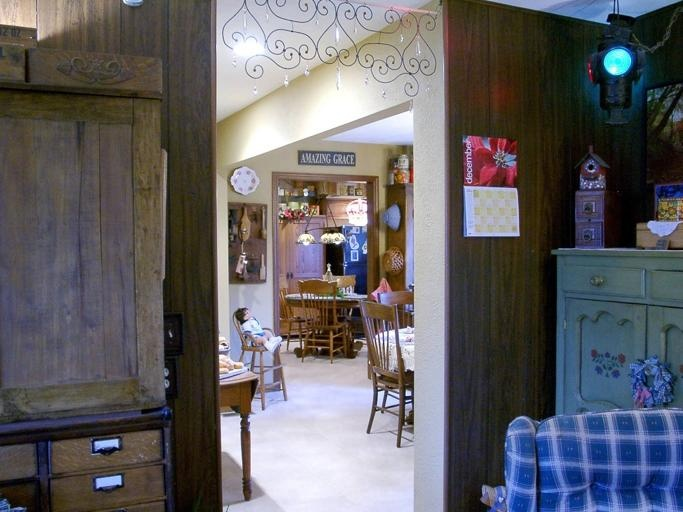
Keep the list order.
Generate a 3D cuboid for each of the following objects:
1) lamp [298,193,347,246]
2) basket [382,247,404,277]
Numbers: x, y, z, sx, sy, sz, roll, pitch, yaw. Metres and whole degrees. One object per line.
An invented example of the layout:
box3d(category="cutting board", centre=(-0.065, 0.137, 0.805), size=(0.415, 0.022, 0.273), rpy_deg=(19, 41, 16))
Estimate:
box3d(category="lamp", centre=(-0.323, -0.501, 10.699), size=(0.452, 0.757, 1.162), rpy_deg=(0, 0, -20))
box3d(category="basket", centre=(0.685, 0.067, 8.063), size=(0.117, 0.322, 0.280), rpy_deg=(1, 4, -42))
